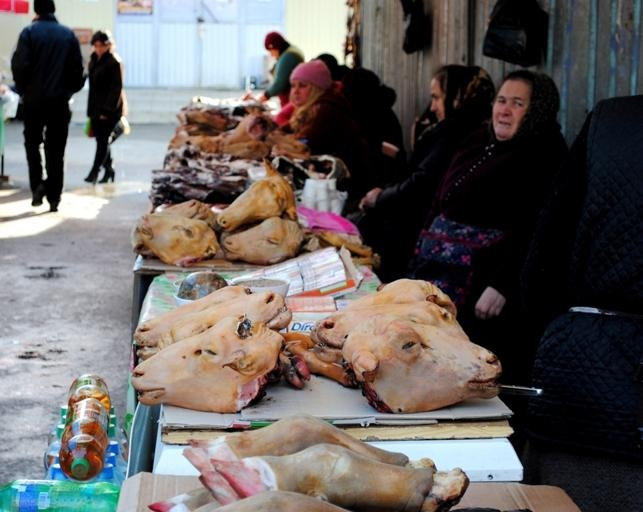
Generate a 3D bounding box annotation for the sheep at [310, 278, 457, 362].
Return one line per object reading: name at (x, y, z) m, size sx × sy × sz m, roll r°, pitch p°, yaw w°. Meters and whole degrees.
sheep at (0.151, 0.161, 1.527) m, size 0.366 × 0.149 × 0.275 m, roll -13°, pitch -3°, yaw -30°

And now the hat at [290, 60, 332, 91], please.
hat at (-0.088, -1.322, 4.477) m, size 0.257 × 0.192 × 0.193 m, roll -1°, pitch 21°, yaw -2°

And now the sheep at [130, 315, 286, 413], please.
sheep at (-0.250, 0.238, 1.346) m, size 0.318 × 0.155 × 0.234 m, roll -13°, pitch 30°, yaw -31°

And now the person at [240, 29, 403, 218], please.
person at (0.238, -1.012, 4.680) m, size 1.024 × 0.625 × 1.427 m, roll 0°, pitch 40°, yaw -18°

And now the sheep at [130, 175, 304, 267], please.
sheep at (-0.430, -0.164, 2.574) m, size 0.545 × 0.258 × 0.383 m, roll -13°, pitch 24°, yaw -14°

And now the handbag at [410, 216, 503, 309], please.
handbag at (0.597, 0.027, 2.610) m, size 0.157 × 0.289 × 0.284 m, roll 24°, pitch 11°, yaw -31°

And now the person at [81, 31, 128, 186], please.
person at (-3.133, -2.089, 8.833) m, size 0.575 × 2.175 × 0.794 m, roll -4°, pitch 15°, yaw -24°
